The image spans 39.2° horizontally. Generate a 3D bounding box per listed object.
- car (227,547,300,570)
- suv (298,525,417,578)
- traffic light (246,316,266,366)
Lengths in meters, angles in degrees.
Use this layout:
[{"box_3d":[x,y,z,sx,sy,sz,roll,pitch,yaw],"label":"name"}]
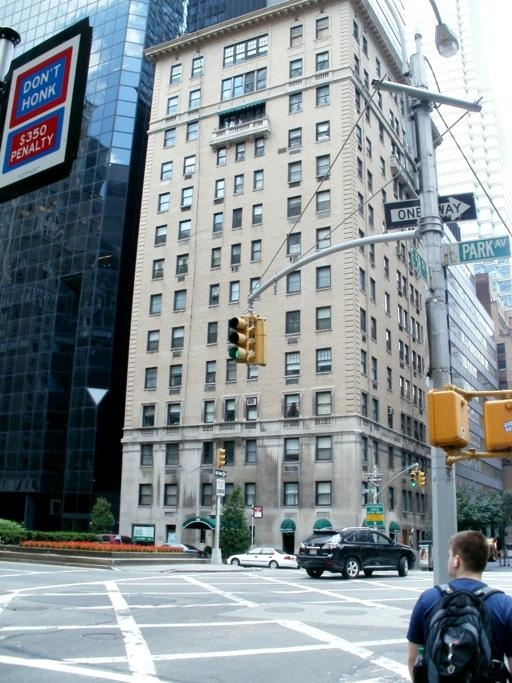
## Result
[{"box_3d":[0.499,12.034,40.025,3.852,1.033,1.252,-11,-20,41],"label":"car"},{"box_3d":[3.501,6.825,23.415,3.757,1.305,1.718,8,-17,-30],"label":"suv"},{"box_3d":[0.006,-0.059,13.391,0.383,0.978,0.311,7,-17,-16],"label":"traffic light"}]
